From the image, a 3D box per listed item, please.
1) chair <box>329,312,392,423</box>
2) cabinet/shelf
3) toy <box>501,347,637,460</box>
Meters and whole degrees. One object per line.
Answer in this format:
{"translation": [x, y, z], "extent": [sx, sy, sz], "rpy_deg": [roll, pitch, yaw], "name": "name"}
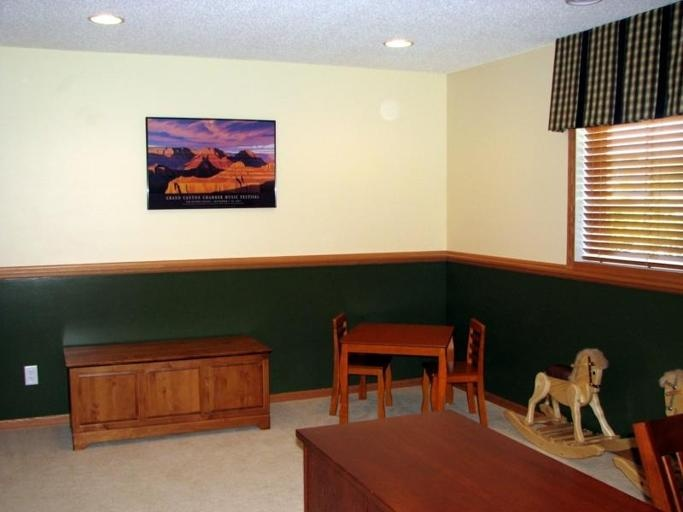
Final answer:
{"translation": [0.116, 0.934, 4.536], "extent": [0.489, 0.813, 0.527], "rpy_deg": [1, 2, -25], "name": "chair"}
{"translation": [-1.382, 1.074, 4.438], "extent": [1.511, 0.718, 0.675], "rpy_deg": [-2, 8, -12], "name": "cabinet/shelf"}
{"translation": [1.693, 1.044, 3.938], "extent": [0.461, 0.783, 1.031], "rpy_deg": [0, 1, -23], "name": "toy"}
